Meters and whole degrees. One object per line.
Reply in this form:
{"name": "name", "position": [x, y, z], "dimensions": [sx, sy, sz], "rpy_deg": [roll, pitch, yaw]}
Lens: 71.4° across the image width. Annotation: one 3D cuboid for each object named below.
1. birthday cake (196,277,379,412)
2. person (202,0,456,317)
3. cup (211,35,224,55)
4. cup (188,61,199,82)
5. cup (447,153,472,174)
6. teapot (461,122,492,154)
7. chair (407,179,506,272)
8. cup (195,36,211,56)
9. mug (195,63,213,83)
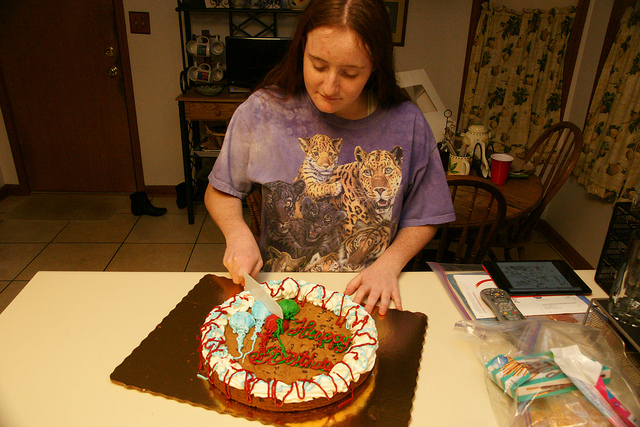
{"name": "birthday cake", "position": [-0.111, 0.436, 1.546], "dimensions": [0.599, 0.178, 0.460], "rpy_deg": [-4, 32, -14]}
{"name": "person", "position": [0.048, -0.221, 1.742], "dimensions": [1.045, 1.082, 0.573], "rpy_deg": [4, 29, 0]}
{"name": "cup", "position": [-0.885, -1.446, 3.854], "dimensions": [0.094, 0.168, 0.064], "rpy_deg": [0, -1, 6]}
{"name": "cup", "position": [-1.081, -1.216, 3.824], "dimensions": [0.078, 0.149, 0.058], "rpy_deg": [-3, 12, 1]}
{"name": "cup", "position": [0.867, -0.320, 2.790], "dimensions": [0.091, 0.146, 0.154], "rpy_deg": [1, 23, 1]}
{"name": "teapot", "position": [1.036, -0.500, 2.979], "dimensions": [0.161, 0.233, 0.230], "rpy_deg": [4, 21, -2]}
{"name": "chair", "position": [0.669, 0.056, 2.214], "dimensions": [0.282, 0.459, 0.303], "rpy_deg": [-2, 38, -14]}
{"name": "cup", "position": [-0.990, -1.419, 3.767], "dimensions": [0.092, 0.175, 0.170], "rpy_deg": [1, 9, 1]}
{"name": "mug", "position": [-0.976, -1.189, 3.770], "dimensions": [0.109, 0.161, 0.156], "rpy_deg": [2, 6, 0]}
